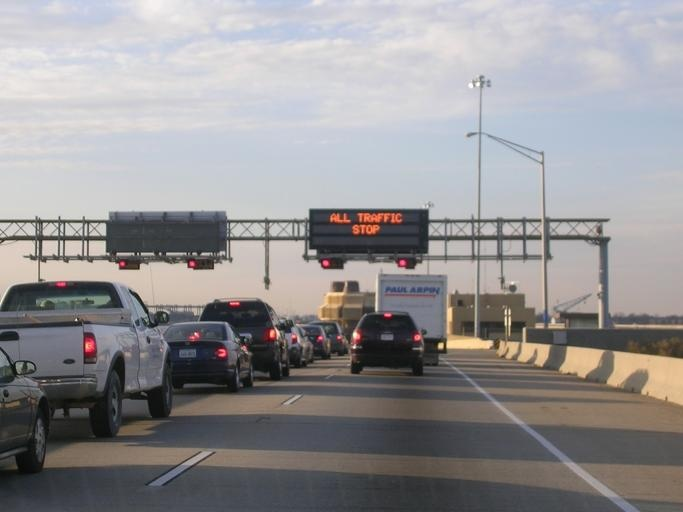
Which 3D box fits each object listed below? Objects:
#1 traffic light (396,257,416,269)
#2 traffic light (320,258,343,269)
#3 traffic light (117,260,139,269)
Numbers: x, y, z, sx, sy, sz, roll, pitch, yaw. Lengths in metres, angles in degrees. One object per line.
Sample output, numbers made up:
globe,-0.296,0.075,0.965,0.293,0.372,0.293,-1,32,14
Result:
traffic light,2.814,0.276,55.613,0.898,0.564,0.465,0,-3,-4
traffic light,-0.418,0.335,58.399,1.014,0.481,0.473,-1,2,3
traffic light,-10.061,0.364,60.306,1.128,0.461,0.558,-1,2,10
